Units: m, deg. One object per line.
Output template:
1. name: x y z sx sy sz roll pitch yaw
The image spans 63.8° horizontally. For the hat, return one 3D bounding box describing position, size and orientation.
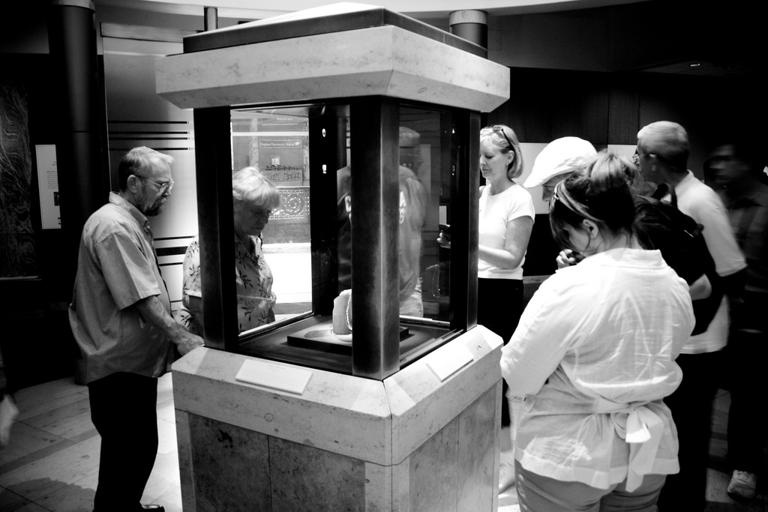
1. hat: 0.986 -0.544 3.466 0.370 0.198 0.278 -17 13 16
